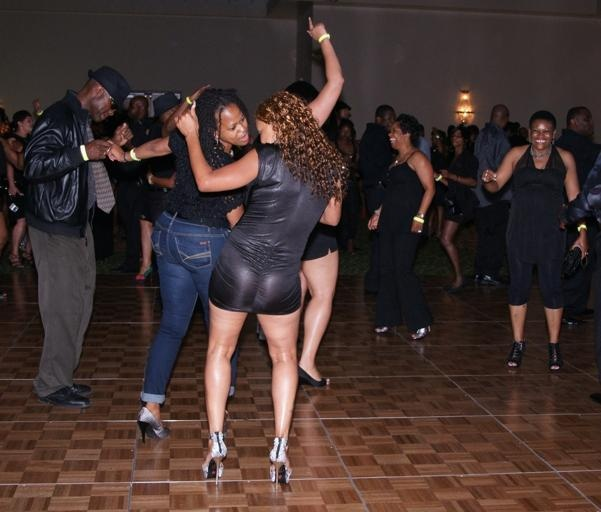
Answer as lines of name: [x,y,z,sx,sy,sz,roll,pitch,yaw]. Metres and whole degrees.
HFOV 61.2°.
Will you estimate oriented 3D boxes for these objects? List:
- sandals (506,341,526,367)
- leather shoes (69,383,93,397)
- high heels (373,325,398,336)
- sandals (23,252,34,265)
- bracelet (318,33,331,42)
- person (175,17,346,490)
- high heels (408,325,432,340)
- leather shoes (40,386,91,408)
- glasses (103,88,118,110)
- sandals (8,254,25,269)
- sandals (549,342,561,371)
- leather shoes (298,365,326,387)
sandals: [1.582,0.696,3.740,0.083,0.104,0.248,4,42,30]
leather shoes: [-1.279,0.784,2.976,0.147,0.055,0.053,7,24,8]
high heels: [0.752,0.661,4.459,0.056,0.074,0.211,10,10,44]
sandals: [-3.465,0.038,6.470,0.132,0.159,0.164,9,-16,-18]
bracelet: [0.111,-1.044,2.420,0.070,0.019,0.069,-36,20,7]
person: [-0.146,0.176,1.929,0.599,1.568,0.325,2,8,0]
high heels: [1.025,0.651,4.324,0.082,0.093,0.244,-12,9,45]
leather shoes: [-1.280,0.783,2.841,0.286,0.127,0.107,2,2,-1]
glasses: [-0.993,-0.819,2.675,0.055,0.073,0.028,20,48,39]
sandals: [-3.732,0.063,6.674,0.262,0.085,0.201,-4,-14,44]
sandals: [1.822,0.737,3.647,0.073,0.096,0.230,1,15,14]
leather shoes: [0.066,0.781,3.290,0.266,0.104,0.087,9,-2,-1]
